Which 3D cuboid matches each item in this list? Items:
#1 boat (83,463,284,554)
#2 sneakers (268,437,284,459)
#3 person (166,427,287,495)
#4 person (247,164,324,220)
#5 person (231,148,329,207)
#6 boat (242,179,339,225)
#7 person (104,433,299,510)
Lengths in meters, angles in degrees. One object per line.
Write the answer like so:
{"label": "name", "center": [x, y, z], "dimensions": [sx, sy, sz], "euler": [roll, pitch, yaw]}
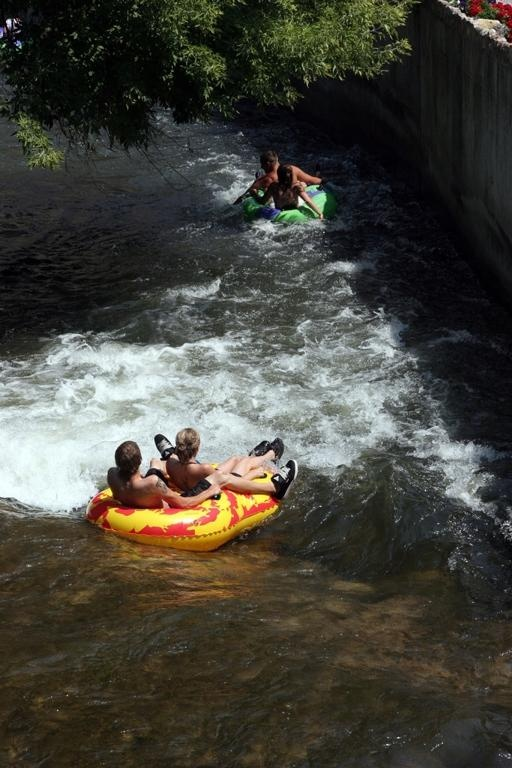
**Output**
{"label": "boat", "center": [-0.620, 1.121, 6.725], "dimensions": [1.484, 0.423, 1.565], "euler": [-1, 7, 24]}
{"label": "sneakers", "center": [0.181, 0.589, 7.080], "dimensions": [0.090, 0.099, 0.225], "euler": [4, 51, 12]}
{"label": "person", "center": [-0.227, 0.627, 6.476], "dimensions": [0.781, 0.409, 0.609], "euler": [-19, 36, -33]}
{"label": "person", "center": [0.486, -3.426, 12.778], "dimensions": [0.929, 0.688, 1.263], "euler": [-6, 34, 0]}
{"label": "person", "center": [0.434, -3.422, 12.911], "dimensions": [1.417, 0.715, 1.118], "euler": [-8, 39, -3]}
{"label": "boat", "center": [0.737, -2.963, 12.817], "dimensions": [0.952, 0.250, 0.950], "euler": [19, 33, 38]}
{"label": "person", "center": [-0.507, 0.764, 6.399], "dimensions": [1.239, 0.472, 0.746], "euler": [-7, 18, -36]}
